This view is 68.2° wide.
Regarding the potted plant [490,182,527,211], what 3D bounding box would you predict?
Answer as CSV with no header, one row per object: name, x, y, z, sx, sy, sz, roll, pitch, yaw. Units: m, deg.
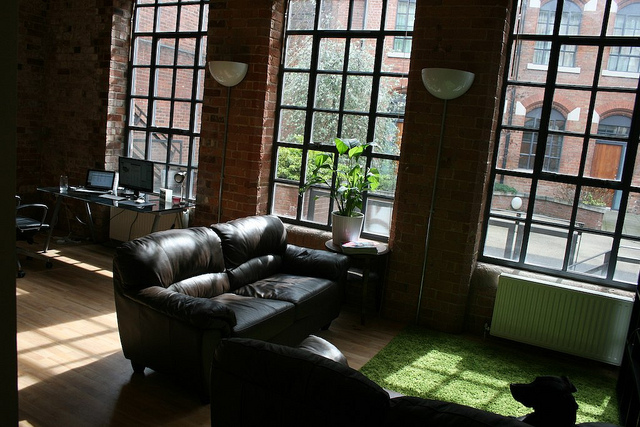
potted plant,2.035,-0.174,5.080,0.301,0.178,0.304,12,7,42

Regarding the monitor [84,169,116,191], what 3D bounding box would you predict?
monitor,-2.993,-0.471,6.428,0.410,0.284,0.250,4,12,-5

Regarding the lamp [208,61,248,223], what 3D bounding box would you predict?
lamp,-1.160,-0.819,5.592,0.359,1.907,0.341,12,8,36

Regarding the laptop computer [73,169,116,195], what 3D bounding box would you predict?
laptop computer,-3.011,-0.409,6.282,0.477,0.273,0.357,5,7,14

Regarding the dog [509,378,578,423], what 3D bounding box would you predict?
dog,1.212,0.980,2.576,0.226,0.146,0.289,1,4,-38

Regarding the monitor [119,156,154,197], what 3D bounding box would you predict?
monitor,-2.456,-0.482,6.198,0.238,0.481,0.680,0,-2,16

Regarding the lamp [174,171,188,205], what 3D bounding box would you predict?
lamp,-1.833,-0.347,6.220,0.182,0.391,0.606,5,7,-18

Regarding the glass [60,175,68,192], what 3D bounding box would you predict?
glass,-3.355,-0.384,6.178,0.089,0.177,0.221,3,7,-28

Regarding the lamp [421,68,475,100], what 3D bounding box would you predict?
lamp,1.288,-1.262,4.746,0.376,0.246,0.510,0,14,-8

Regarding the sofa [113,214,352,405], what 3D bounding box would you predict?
sofa,-0.703,0.737,4.512,1.183,1.070,2.308,10,10,29

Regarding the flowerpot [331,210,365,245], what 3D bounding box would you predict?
flowerpot,0.299,0.153,5.137,0.367,0.267,0.330,3,5,4

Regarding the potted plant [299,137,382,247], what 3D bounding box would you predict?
potted plant,0.274,-0.231,5.321,0.920,1.155,0.919,2,3,4
